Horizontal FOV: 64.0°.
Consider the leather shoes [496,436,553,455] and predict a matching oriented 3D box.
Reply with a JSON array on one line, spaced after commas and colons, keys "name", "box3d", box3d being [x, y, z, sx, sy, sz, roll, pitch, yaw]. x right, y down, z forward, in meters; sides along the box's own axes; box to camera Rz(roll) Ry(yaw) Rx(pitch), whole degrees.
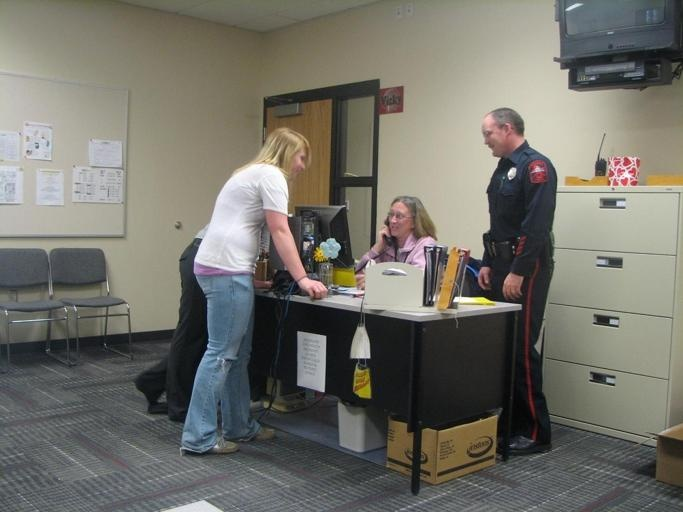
[{"name": "leather shoes", "box3d": [1.123, 1.177, 3.407, 0.165, 0.071, 0.235, 1, -2, -2]}]

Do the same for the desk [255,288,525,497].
[{"name": "desk", "box3d": [0.229, 0.732, 3.248, 1.493, 0.974, 0.720, 2, 7, 22]}]

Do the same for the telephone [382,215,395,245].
[{"name": "telephone", "box3d": [0.334, -0.170, 3.832, 0.052, 0.230, 0.087, -13, 6, -2]}]

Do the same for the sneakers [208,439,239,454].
[{"name": "sneakers", "box3d": [-0.693, 1.131, 3.236, 0.145, 0.059, 0.080, -2, 1, -13]}]

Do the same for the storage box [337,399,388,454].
[{"name": "storage box", "box3d": [0.129, 1.001, 3.485, 0.367, 0.364, 0.265, 1, -2, -44]}]

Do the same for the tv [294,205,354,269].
[{"name": "tv", "box3d": [-0.123, -0.114, 3.506, 0.380, 0.390, 0.139, 4, 14, 39]}]
